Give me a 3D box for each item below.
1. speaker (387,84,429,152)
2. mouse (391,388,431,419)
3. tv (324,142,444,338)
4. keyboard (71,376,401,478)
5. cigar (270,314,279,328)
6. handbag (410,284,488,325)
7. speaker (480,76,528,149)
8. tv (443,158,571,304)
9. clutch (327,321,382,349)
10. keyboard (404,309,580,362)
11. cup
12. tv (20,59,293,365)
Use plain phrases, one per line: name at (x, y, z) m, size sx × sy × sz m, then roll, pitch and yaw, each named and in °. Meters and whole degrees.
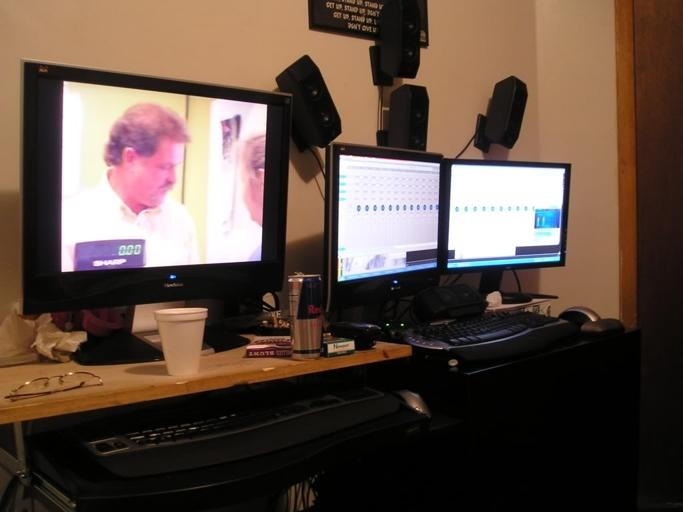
speaker at (0.229, -0.495, 2.149) m, size 0.153 × 0.227 × 0.105 m, roll 4°, pitch 11°, yaw 17°
mouse at (0.197, 0.387, 1.585) m, size 0.050 × 0.022 × 0.086 m, roll -1°, pitch 15°, yaw -21°
tv at (0.130, -0.058, 1.889) m, size 0.213 × 0.636 × 0.639 m, roll -1°, pitch 0°, yaw 43°
keyboard at (-0.197, 0.409, 1.414) m, size 0.752 × 0.054 × 0.156 m, roll -5°, pitch 12°, yaw -24°
cigar at (-0.195, 0.188, 1.721) m, size 0.009 × 0.017 × 0.045 m, roll 14°, pitch 22°, yaw -17°
handbag at (0.335, 0.150, 1.978) m, size 0.232 × 0.081 × 0.125 m, roll -5°, pitch 16°, yaw -43°
speaker at (0.677, -0.594, 2.531) m, size 0.150 × 0.302 × 0.158 m, roll 10°, pitch 14°, yaw 42°
tv at (0.652, -0.157, 2.326) m, size 0.629 × 0.435 × 0.067 m, roll -6°, pitch 12°, yaw -28°
clutch at (0.030, 0.201, 1.598) m, size 0.086 × 0.041 × 0.077 m, roll 3°, pitch 3°, yaw 36°
keyboard at (0.448, 0.237, 1.820) m, size 0.582 × 0.074 × 0.269 m, roll -8°, pitch 14°, yaw -34°
cup at (-0.323, 0.196, 1.353) m, size 0.140 × 0.153 × 0.136 m, roll -1°, pitch -7°, yaw 0°
tv at (-0.491, -0.103, 1.543) m, size 0.804 × 0.785 × 0.262 m, roll 1°, pitch -4°, yaw -36°
